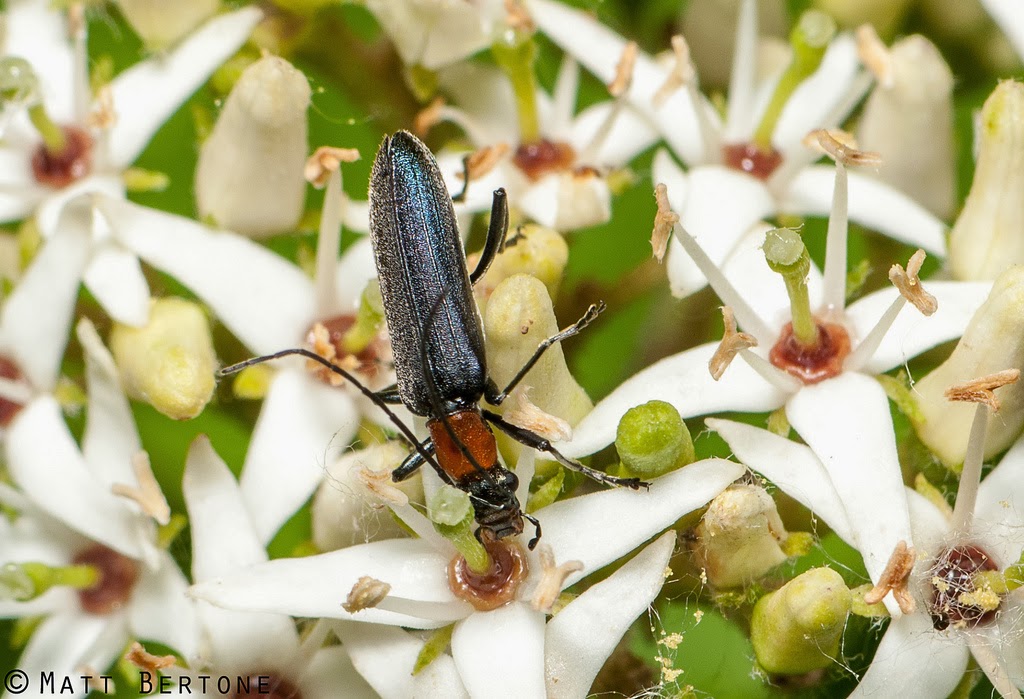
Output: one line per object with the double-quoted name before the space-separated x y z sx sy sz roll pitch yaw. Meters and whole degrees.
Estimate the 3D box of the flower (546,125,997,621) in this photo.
"flower" 0.698 0.034 2.912 0.989 0.416 1.024 -19 52 0

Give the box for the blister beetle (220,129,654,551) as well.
"blister beetle" -0.197 -0.048 2.791 0.868 0.282 0.953 -20 83 7
